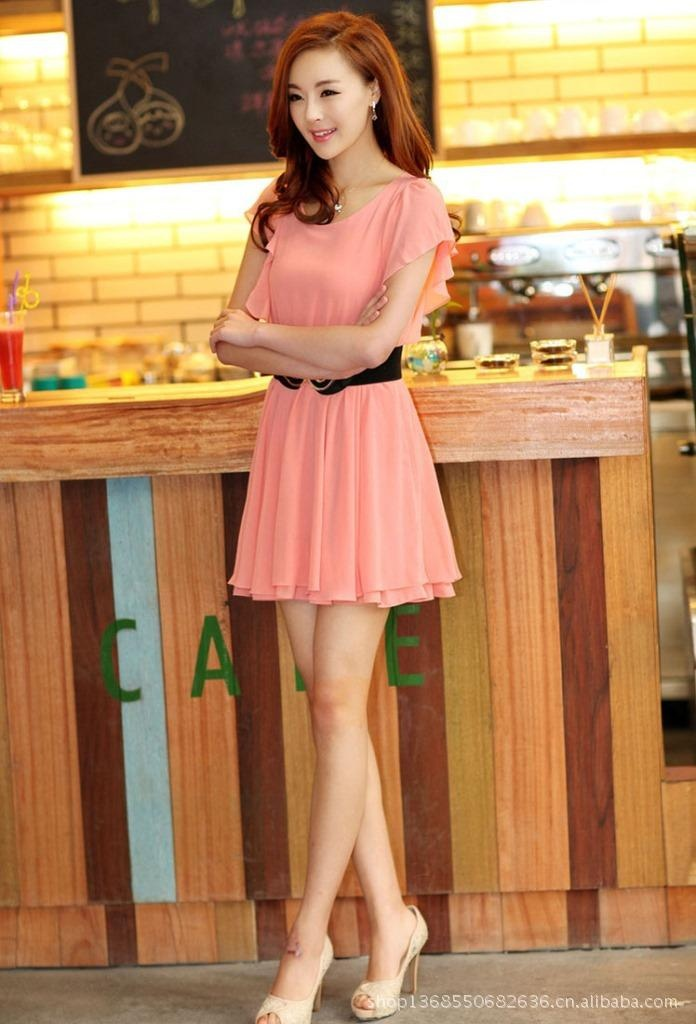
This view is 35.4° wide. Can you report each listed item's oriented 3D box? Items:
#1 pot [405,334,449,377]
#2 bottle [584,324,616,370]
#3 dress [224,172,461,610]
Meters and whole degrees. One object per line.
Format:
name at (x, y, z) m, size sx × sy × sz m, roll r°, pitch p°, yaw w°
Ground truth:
pot at (0.138, -0.307, 2.150) m, size 0.088 × 0.072 × 0.085 m, roll 1°, pitch 4°, yaw 0°
bottle at (0.465, -0.308, 2.031) m, size 0.050 × 0.073 × 0.101 m, roll -5°, pitch -2°, yaw 12°
dress at (-0.010, -0.175, 1.671) m, size 0.385 × 0.555 × 0.227 m, roll -5°, pitch -2°, yaw -6°
